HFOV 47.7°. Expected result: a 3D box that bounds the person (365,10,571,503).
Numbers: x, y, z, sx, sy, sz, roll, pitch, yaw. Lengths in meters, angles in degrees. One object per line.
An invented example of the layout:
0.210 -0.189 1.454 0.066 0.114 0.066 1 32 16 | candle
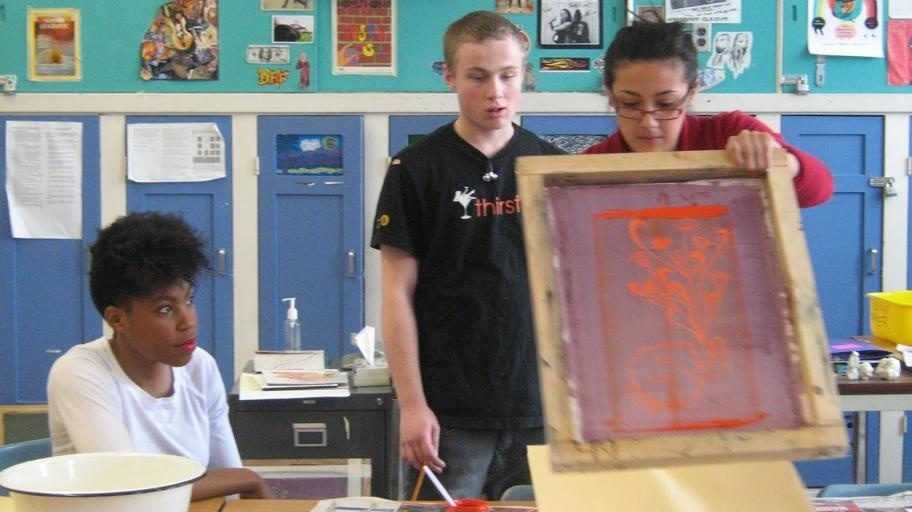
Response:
0.060 0.000 4.411 0.783 1.684 0.192 -5 2 -13 | person

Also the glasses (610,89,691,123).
0.798 -0.602 4.220 0.307 0.080 0.067 -2 1 4 | glasses

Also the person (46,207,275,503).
-1.313 0.368 4.335 0.691 1.097 0.266 -5 1 -30 | person

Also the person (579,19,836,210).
1.211 -0.654 4.698 1.487 0.732 0.707 -7 3 2 | person
